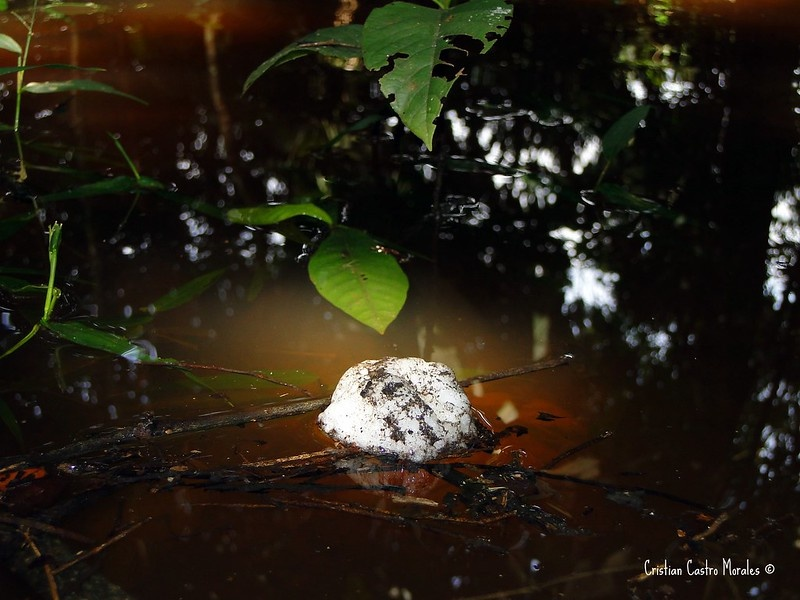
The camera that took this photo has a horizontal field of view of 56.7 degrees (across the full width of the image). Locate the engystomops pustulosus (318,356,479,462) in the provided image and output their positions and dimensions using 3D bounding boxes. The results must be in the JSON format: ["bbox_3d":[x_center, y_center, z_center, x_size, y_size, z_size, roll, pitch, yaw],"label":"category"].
[{"bbox_3d":[0.007,0.187,1.544,0.353,0.092,0.315,-2,29,-14],"label":"engystomops pustulosus"}]
